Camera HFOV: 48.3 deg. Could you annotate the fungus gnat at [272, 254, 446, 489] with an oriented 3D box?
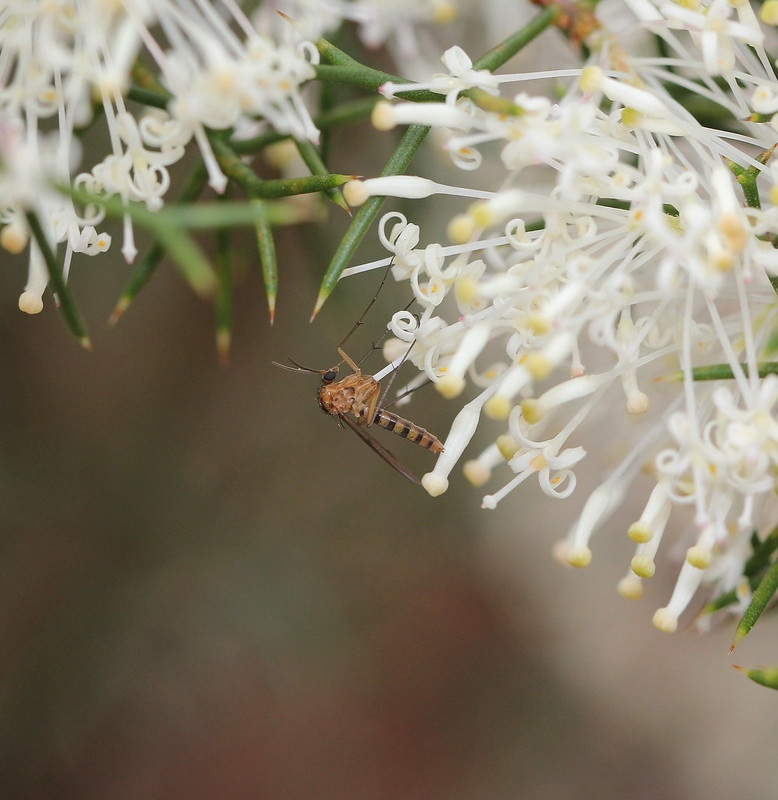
[{"bbox_3d":[-0.019,0.012,0.865,0.181,0.077,0.182,50,14,-6],"label":"fungus gnat"}]
